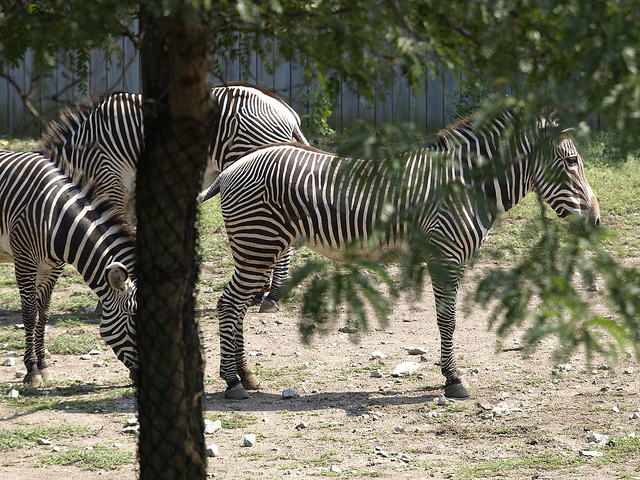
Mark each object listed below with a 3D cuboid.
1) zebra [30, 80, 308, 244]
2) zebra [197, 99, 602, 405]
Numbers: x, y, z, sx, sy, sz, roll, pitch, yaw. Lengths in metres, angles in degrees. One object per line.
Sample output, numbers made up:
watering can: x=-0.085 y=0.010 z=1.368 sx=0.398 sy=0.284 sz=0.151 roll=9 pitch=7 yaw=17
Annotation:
zebra: x=-1.463 y=-0.491 z=9.225 sx=2.850 sy=1.586 sz=0.828 roll=-3 pitch=-6 yaw=17
zebra: x=0.336 y=0.049 z=4.695 sx=1.918 sy=1.366 sz=0.492 roll=-1 pitch=0 yaw=-3
